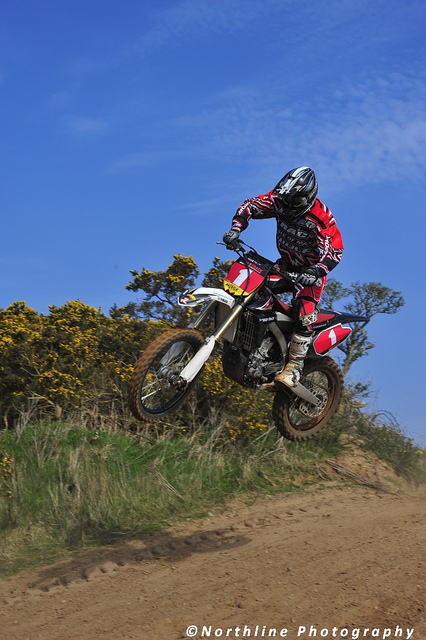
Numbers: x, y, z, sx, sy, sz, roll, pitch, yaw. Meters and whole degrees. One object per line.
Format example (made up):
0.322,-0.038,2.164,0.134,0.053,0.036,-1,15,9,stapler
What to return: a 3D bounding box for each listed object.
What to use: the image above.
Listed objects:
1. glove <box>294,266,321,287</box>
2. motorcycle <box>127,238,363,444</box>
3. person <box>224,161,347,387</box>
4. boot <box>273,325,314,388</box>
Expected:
0.902,-0.416,5.256,0.263,0.193,0.138,1,-2,-11,glove
0.448,0.249,5.645,2.947,1.798,1.252,15,1,-44,motorcycle
0.724,-0.490,5.774,1.258,2.135,1.179,20,17,34,person
0.776,0.358,5.527,0.373,0.621,0.253,1,-2,-1,boot
